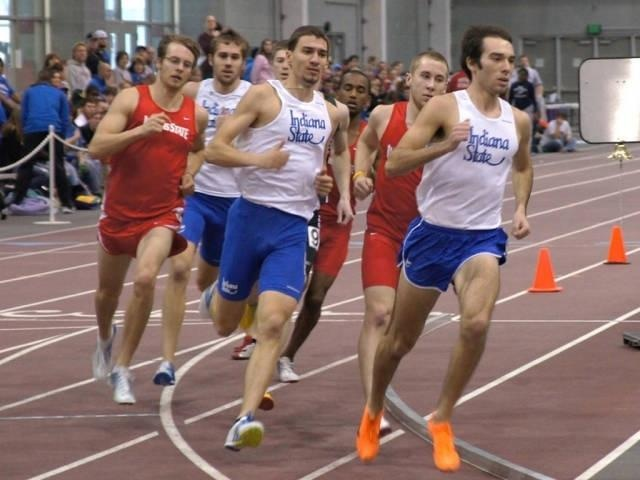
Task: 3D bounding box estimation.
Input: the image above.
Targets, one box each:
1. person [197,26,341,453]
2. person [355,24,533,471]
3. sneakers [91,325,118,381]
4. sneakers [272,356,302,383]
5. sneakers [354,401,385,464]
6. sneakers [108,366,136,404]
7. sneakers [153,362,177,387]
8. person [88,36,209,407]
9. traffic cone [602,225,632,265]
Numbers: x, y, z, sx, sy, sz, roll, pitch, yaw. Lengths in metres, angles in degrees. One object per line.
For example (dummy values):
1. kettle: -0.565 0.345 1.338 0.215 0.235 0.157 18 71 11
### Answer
1. person: -0.292 -0.196 4.429 0.775 2.233 1.504 -2 6 -7
2. person: 0.716 -0.018 4.047 0.758 2.321 1.085 2 6 27
3. sneakers: -1.566 0.832 5.288 0.157 0.494 0.204 5 11 -11
4. sneakers: -0.250 0.957 5.436 0.108 0.138 0.311 3 -6 -20
5. sneakers: 0.268 1.000 3.982 0.126 0.146 0.423 7 32 7
6. sneakers: -1.266 0.949 4.655 0.132 0.239 0.267 -3 6 -18
7. sneakers: -1.013 0.877 4.742 0.116 0.182 0.232 -2 6 -8
8. person: -1.162 -0.206 4.982 0.838 2.398 0.982 -3 6 -19
9. traffic cone: 4.057 0.079 10.021 0.432 0.513 0.426 2 5 31
